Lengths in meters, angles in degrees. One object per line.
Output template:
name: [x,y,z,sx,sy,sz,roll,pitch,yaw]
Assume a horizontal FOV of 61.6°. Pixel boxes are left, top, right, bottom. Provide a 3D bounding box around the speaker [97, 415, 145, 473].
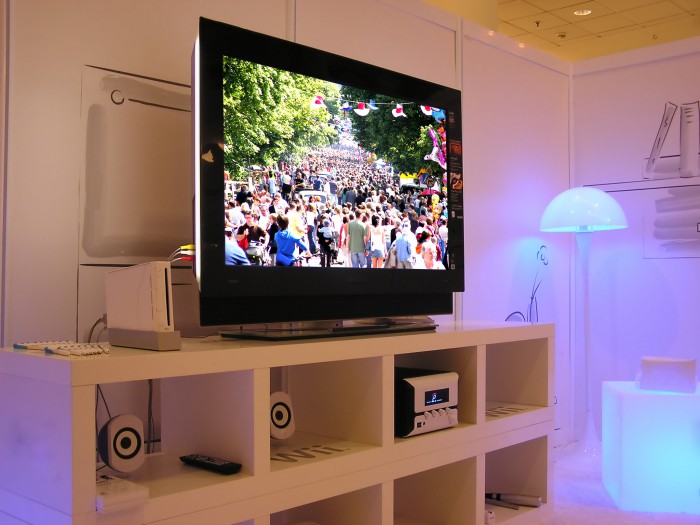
speaker: [-0.708,0.564,1.813,0.120,0.179,0.104,8,-22,-38]
